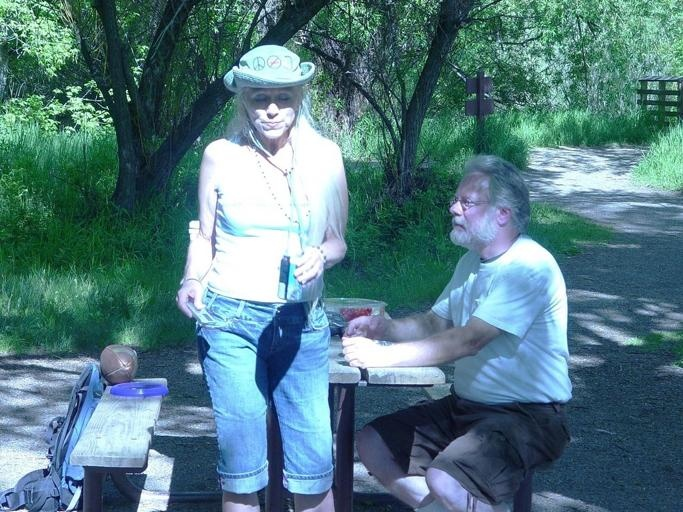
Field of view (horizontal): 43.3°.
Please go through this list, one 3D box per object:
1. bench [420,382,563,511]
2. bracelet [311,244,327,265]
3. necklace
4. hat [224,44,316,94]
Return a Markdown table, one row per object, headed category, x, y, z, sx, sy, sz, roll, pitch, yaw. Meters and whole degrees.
| category | x | y | z | sx | sy | sz | roll | pitch | yaw |
| --- | --- | --- | --- | --- | --- | --- | --- | --- | --- |
| bench | 0.837 | 1.033 | 4.860 | 0.574 | 0.331 | 0.678 | -14 | 10 | -15 |
| bracelet | -0.112 | 0.007 | 4.423 | 0.028 | 0.095 | 0.069 | -19 | 26 | -8 |
| necklace | -0.330 | -0.396 | 4.509 | 0.088 | 0.367 | 0.336 | -18 | -17 | -10 |
| hat | -0.359 | -0.990 | 4.621 | 0.452 | 0.260 | 0.600 | -4 | 8 | 7 |
